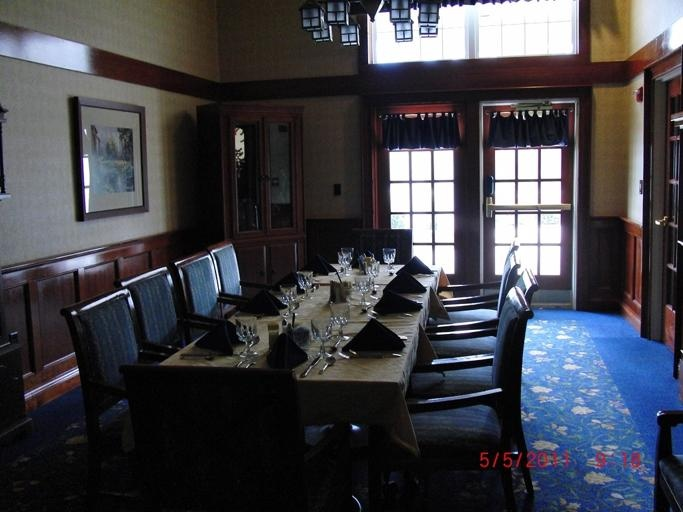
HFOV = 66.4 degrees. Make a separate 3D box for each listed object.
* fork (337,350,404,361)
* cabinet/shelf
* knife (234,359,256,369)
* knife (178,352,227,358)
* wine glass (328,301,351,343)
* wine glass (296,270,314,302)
[{"bbox_3d":[0.142,0.489,2.579,0.312,0.020,0.073,-1,11,1],"label":"fork"},{"bbox_3d":[-0.996,-0.463,6.295,1.037,2.646,0.627,-8,20,-27],"label":"cabinet/shelf"},{"bbox_3d":[-0.466,0.520,2.492,0.085,0.036,0.138,2,4,3],"label":"knife"},{"bbox_3d":[-0.707,0.500,2.638,0.217,0.014,0.075,0,11,9],"label":"knife"},{"bbox_3d":[-0.008,0.371,2.972,0.143,0.264,0.148,-4,8,-8],"label":"wine glass"},{"bbox_3d":[-0.282,0.213,3.809,0.150,0.257,0.153,-1,5,-7],"label":"wine glass"}]
